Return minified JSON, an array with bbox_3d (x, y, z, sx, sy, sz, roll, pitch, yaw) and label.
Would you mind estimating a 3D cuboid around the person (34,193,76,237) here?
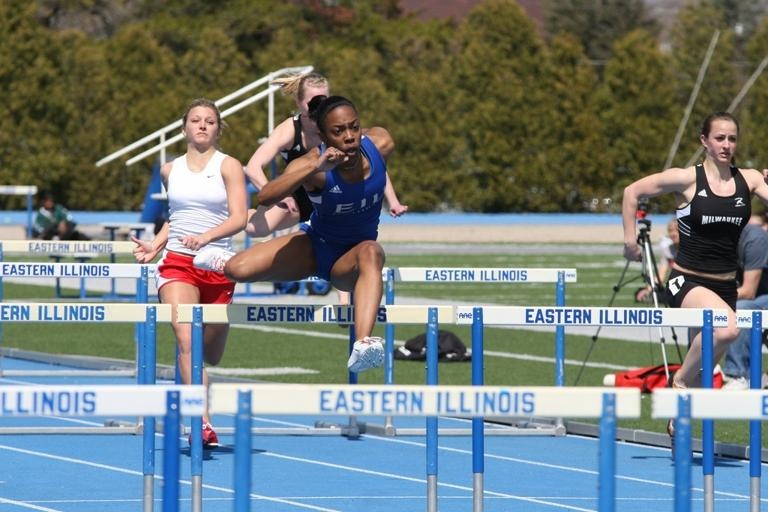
[{"bbox_3d":[-9.587,-1.038,48.504,1.068,1.218,2.615,0,1,-11],"label":"person"}]
